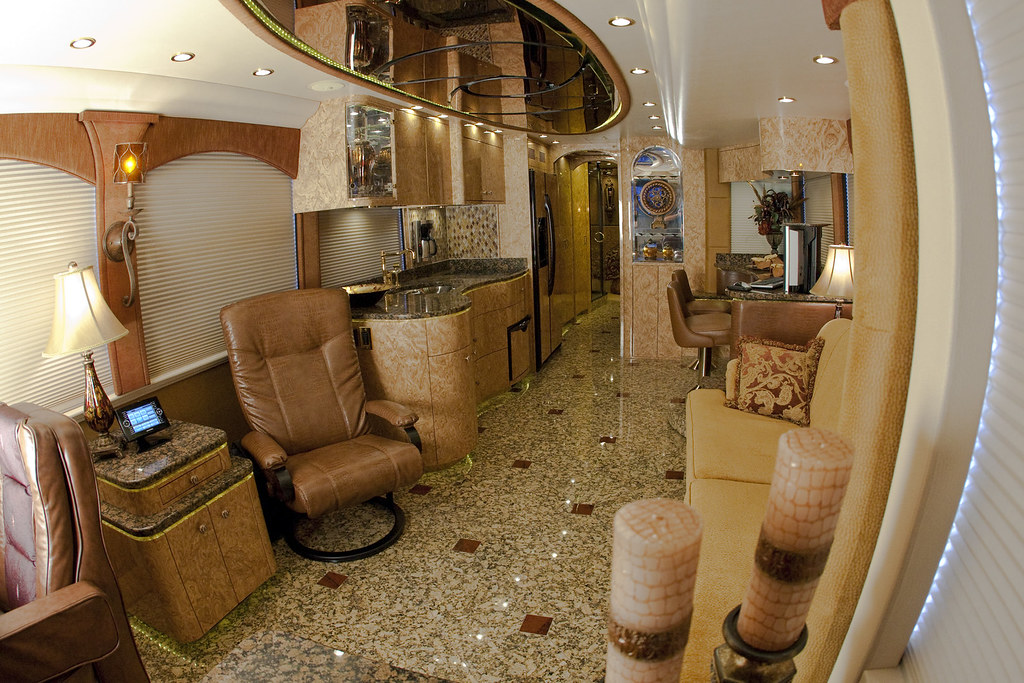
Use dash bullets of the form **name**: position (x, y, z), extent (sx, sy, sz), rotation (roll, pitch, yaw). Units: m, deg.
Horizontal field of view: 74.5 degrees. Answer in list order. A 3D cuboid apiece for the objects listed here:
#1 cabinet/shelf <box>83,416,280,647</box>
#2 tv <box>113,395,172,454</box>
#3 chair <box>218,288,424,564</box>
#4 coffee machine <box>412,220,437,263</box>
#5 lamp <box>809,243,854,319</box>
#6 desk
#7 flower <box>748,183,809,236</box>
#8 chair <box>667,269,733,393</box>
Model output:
- **cabinet/shelf**: position (-1.695, 0.905, 3.453), extent (0.800, 0.867, 0.789), rotation (-1, 23, 10)
- **tv**: position (-1.814, 0.390, 3.369), extent (0.214, 0.205, 0.126), rotation (-21, 23, -6)
- **chair**: position (-1.124, 0.474, 4.004), extent (0.901, 1.312, 1.054), rotation (-15, 25, -39)
- **coffee machine**: position (-0.841, -0.981, 6.781), extent (0.268, 0.403, 0.236), rotation (-1, -6, 27)
- **lamp**: position (2.217, -0.396, 4.684), extent (0.243, 0.557, 0.712), rotation (3, 15, 26)
- **desk**: position (2.131, -0.160, 5.391), extent (0.773, 0.473, 0.466), rotation (2, 20, 19)
- **flower**: position (2.732, -1.404, 7.037), extent (0.477, 0.525, 0.488), rotation (-2, 13, -3)
- **chair**: position (1.841, -0.094, 6.692), extent (0.396, 0.621, 1.165), rotation (-3, 17, 10)
